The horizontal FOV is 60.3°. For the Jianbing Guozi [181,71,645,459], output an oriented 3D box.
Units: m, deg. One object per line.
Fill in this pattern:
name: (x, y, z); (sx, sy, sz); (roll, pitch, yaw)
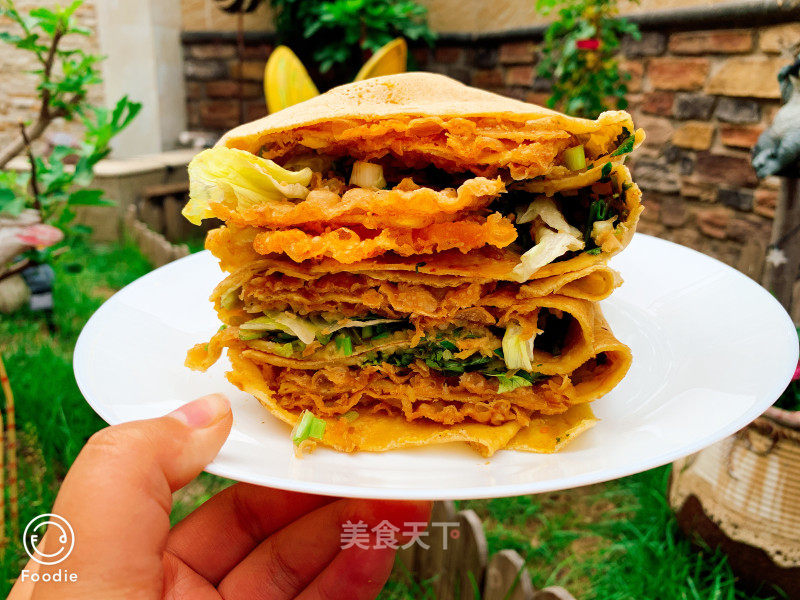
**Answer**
Jianbing Guozi: (0.016, -0.065, 1.724); (0.895, 0.641, 0.828); (-1, 12, 1)
